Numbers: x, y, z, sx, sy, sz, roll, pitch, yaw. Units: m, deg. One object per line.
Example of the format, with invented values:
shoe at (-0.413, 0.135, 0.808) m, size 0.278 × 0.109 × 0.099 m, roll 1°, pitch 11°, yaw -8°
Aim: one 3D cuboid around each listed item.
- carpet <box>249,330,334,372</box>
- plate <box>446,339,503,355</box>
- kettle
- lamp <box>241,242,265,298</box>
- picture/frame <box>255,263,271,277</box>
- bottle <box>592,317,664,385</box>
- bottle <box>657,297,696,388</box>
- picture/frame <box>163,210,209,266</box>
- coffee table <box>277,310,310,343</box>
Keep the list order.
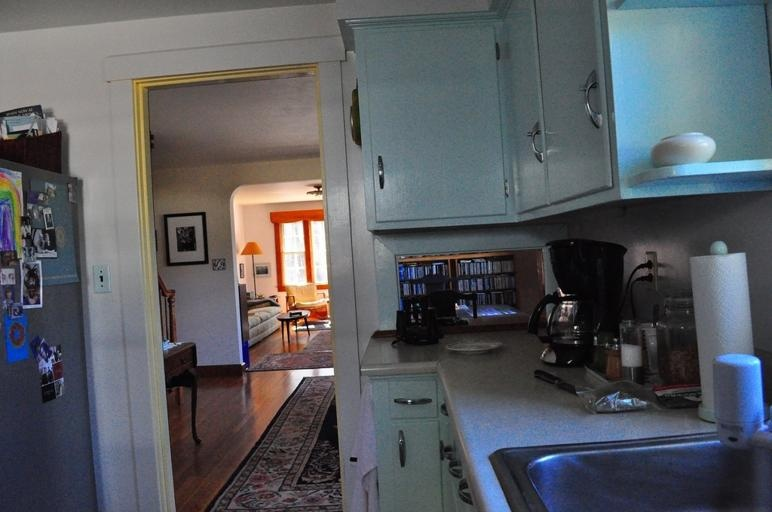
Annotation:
carpet at (-1.207, 1.322, 7.973) m, size 1.016 × 0.114 × 1.887 m, roll -3°, pitch 4°, yaw -3°
plate at (0.452, 0.452, 2.989) m, size 0.259 × 0.037 × 0.363 m, roll -1°, pitch 5°, yaw 22°
kettle at (0.779, 0.325, 2.709) m, size 0.322 × 0.293 × 0.272 m, roll 1°, pitch 0°, yaw 3°
lamp at (-2.468, 0.254, 10.988) m, size 0.354 × 1.052 × 1.498 m, roll -4°, pitch 4°, yaw -13°
picture/frame at (-2.440, 0.274, 11.628) m, size 0.288 × 0.273 × 0.021 m, roll 0°, pitch 3°, yaw 2°
bottle at (0.936, 0.376, 2.353) m, size 0.324 × 0.221 × 0.222 m, roll 1°, pitch 6°, yaw 44°
bottle at (1.074, 0.339, 2.189) m, size 0.135 × 0.277 × 0.107 m, roll -1°, pitch 4°, yaw 22°
picture/frame at (-2.399, -0.192, 7.115) m, size 0.677 × 0.783 × 0.034 m, roll -2°, pitch -7°, yaw -2°
coffee table at (-1.453, 1.137, 9.427) m, size 0.518 × 0.359 × 0.505 m, roll -4°, pitch 4°, yaw -9°
